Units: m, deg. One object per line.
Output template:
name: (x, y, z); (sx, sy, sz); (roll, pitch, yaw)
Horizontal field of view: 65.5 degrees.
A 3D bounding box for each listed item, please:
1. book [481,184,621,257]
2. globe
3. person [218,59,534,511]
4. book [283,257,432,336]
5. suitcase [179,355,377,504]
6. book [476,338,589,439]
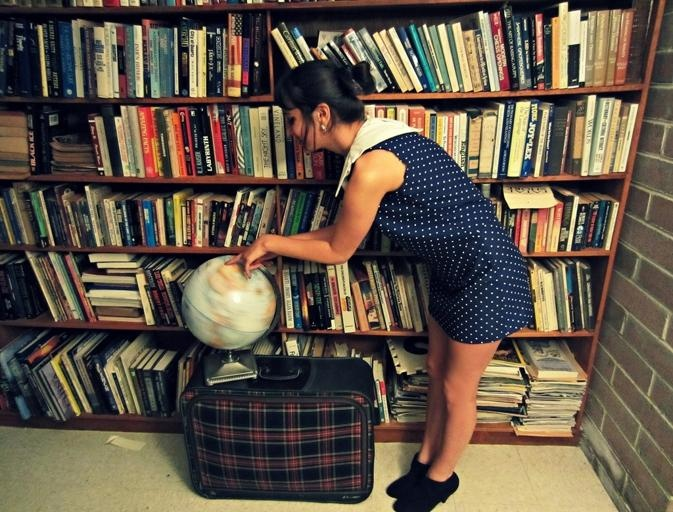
book: (0.983, -0.136, 2.430); (0.750, 0.247, 0.318); (0, 31, -1)
globe: (-0.444, 0.289, 2.220); (0.416, 0.419, 0.385); (-1, 15, -19)
person: (0.254, 0.191, 2.125); (0.968, 1.864, 0.454); (9, 26, 20)
book: (0.072, 0.190, 2.489); (0.874, 0.364, 0.393); (-1, 8, 4)
suitcase: (-0.238, 0.739, 2.228); (0.939, 0.485, 0.330); (0, 34, 2)
book: (0.998, 0.666, 2.614); (0.512, 0.505, 0.177); (1, 57, 1)
